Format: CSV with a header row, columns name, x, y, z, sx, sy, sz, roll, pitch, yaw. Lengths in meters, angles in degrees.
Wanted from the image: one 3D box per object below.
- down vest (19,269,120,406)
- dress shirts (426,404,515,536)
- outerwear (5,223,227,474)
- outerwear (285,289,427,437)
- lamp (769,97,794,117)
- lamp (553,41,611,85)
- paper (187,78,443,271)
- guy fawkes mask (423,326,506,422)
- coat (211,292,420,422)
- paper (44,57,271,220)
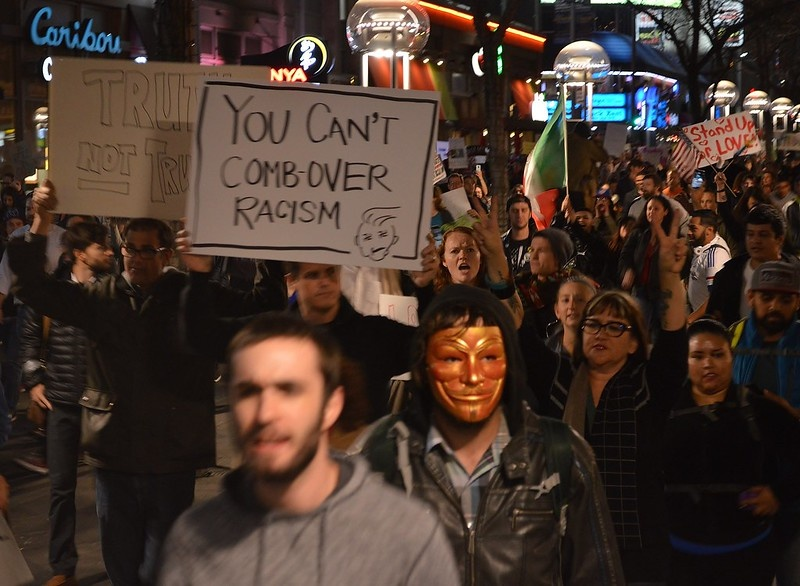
name,x,y,z,sx,sy,sz,roll,pitch,yaw
down vest,-2.862,0.358,6.069,0.848,1.240,0.577,0,21,17
dress shirts,0.333,0.722,2.778,0.180,0.223,0.254,-26,-4,30
outerwear,-1.698,0.345,4.309,1.077,1.397,0.387,0,6,3
outerwear,-0.102,0.378,3.851,0.654,0.684,0.196,7,-10,-23
lamp,15.458,-7.459,28.766,0.735,0.989,2.359,2,7,26
lamp,4.859,-6.030,18.986,1.572,1.282,1.629,1,13,20
paper,-0.467,-0.618,3.713,1.032,0.778,0.110,3,-8,3
guy fawkes mask,0.264,0.313,2.770,0.328,0.416,0.183,-1,-10,-3
coat,-0.342,0.263,3.040,0.753,0.536,0.202,1,-8,-5
paper,-1.381,-0.872,4.103,1.206,0.903,0.043,4,2,-2
